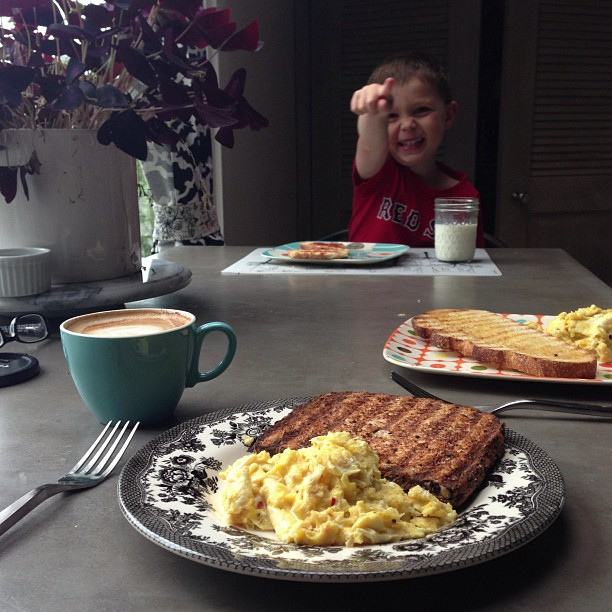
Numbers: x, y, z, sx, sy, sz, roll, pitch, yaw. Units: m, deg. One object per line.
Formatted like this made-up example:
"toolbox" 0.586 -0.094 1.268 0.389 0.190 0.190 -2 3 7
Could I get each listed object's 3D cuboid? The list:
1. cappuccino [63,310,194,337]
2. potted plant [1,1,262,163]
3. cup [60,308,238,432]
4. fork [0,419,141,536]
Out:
"cappuccino" -0.181 0.017 0.564 0.109 0.025 0.091 5 10 29
"potted plant" -0.267 -0.343 0.850 0.393 0.249 0.294 -1 14 -5
"cup" -0.148 0.059 0.557 0.177 0.083 0.106 1 15 -1
"fork" -0.170 0.127 0.439 0.023 0.020 0.152 8 15 23
